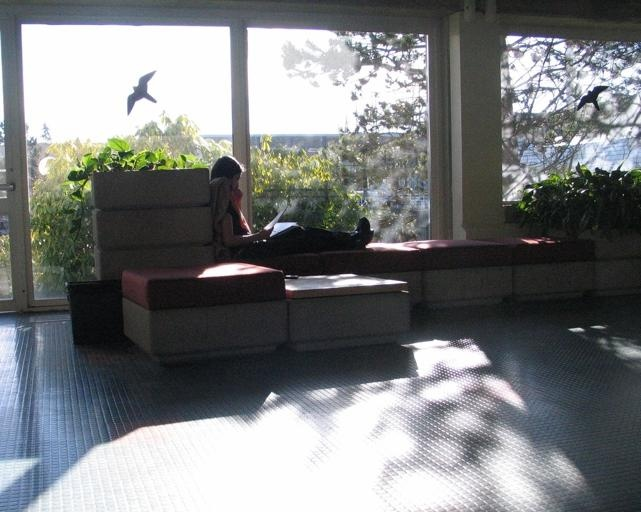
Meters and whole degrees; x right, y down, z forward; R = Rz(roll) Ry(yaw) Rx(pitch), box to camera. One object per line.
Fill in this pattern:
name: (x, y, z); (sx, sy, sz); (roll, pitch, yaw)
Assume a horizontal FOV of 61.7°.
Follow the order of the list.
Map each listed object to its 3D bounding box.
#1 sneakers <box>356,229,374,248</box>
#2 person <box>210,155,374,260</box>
sneakers: (0.385, -0.140, 4.396); (0.141, 0.135, 0.110); (9, 10, 37)
person: (-0.192, -0.396, 4.234); (1.329, 0.819, 0.679); (-2, 7, -15)
